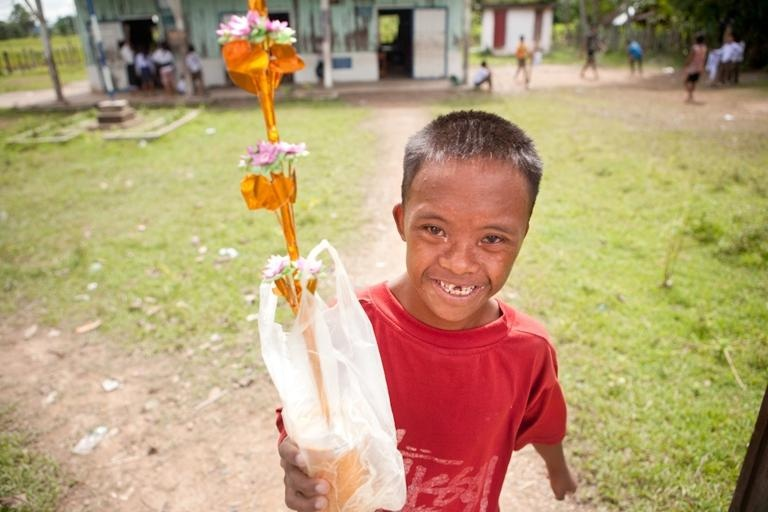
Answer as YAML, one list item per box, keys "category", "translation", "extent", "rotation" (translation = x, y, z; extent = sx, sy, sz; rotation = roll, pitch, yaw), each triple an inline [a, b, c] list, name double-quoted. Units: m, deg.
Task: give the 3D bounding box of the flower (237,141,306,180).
- category: "flower"
  translation: [-0.471, -0.432, 2.337]
  extent: [0.222, 0.067, 0.255]
  rotation: [-12, 3, 20]

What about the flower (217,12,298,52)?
- category: "flower"
  translation: [-0.509, -0.949, 2.376]
  extent: [0.270, 0.104, 0.258]
  rotation: [-10, 5, -20]

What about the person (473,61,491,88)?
- category: "person"
  translation: [1.689, -3.047, 9.430]
  extent: [0.326, 0.482, 0.842]
  rotation: [2, 21, 8]

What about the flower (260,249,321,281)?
- category: "flower"
  translation: [-0.390, 0.040, 2.416]
  extent: [0.189, 0.068, 0.118]
  rotation: [-5, 60, -12]

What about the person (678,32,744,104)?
- category: "person"
  translation: [3.125, -1.778, 5.277]
  extent: [0.628, 0.771, 0.212]
  rotation: [11, 17, 33]
